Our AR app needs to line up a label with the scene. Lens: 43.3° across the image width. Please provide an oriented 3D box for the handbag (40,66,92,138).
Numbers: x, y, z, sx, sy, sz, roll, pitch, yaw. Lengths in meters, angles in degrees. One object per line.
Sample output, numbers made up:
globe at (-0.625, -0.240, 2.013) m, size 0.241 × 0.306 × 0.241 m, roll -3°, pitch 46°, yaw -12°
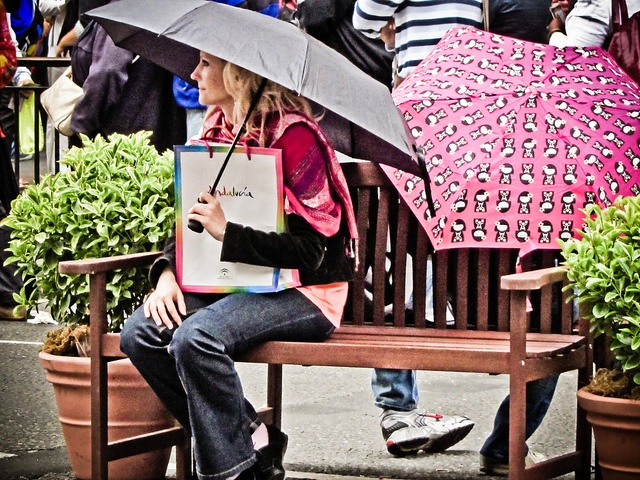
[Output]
handbag at (-1.811, -0.968, 5.658) m, size 0.190 × 0.442 × 0.339 m, roll 27°, pitch 15°, yaw -46°

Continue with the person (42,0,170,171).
person at (-1.529, -1.111, 6.066) m, size 0.932 × 1.276 × 1.141 m, roll 0°, pitch 10°, yaw -14°
